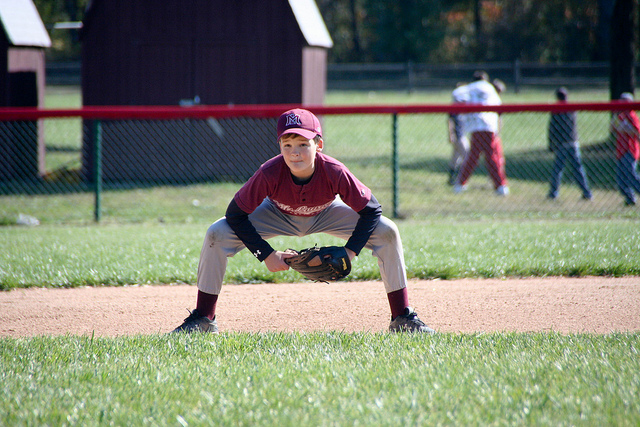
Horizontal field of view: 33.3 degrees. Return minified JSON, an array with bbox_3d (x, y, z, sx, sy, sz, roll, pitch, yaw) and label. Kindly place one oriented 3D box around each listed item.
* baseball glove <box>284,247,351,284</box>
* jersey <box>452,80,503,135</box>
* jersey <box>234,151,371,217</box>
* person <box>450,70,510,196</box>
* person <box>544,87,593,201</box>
[{"bbox_3d":[-0.003,0.817,16.957,0.683,0.631,0.284,-9,38,5],"label":"baseball glove"},{"bbox_3d":[3.223,-2.163,21.902,0.923,1.111,0.382,8,9,38],"label":"jersey"},{"bbox_3d":[-0.289,-0.420,17.086,2.060,1.088,0.373,-3,11,1],"label":"jersey"},{"bbox_3d":[3.246,-1.480,22.129,1.164,2.965,1.005,-7,-27,13],"label":"person"},{"bbox_3d":[5.077,-1.258,22.132,0.953,2.028,0.855,2,12,22],"label":"person"}]
